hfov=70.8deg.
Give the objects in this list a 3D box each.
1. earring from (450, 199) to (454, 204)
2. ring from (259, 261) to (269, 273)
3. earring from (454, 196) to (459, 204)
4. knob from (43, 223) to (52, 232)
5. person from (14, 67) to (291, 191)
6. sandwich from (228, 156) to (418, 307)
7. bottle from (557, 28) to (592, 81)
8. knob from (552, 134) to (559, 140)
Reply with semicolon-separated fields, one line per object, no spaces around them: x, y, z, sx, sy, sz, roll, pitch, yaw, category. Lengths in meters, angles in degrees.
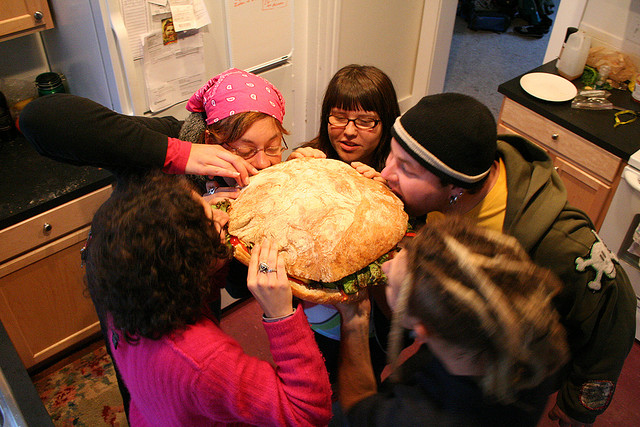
0.572;-0.057;1.957;0.005;0.017;0.017;10;6;-3;earring
-0.211;0.195;1.661;0.029;0.029;0.011;6;-10;27;ring
0.591;-0.066;1.949;0.004;0.019;0.019;20;35;11;earring
-1.624;0.077;2.677;0.035;0.045;0.040;7;12;-46;knob
-0.753;-0.495;2.166;1.174;0.503;0.870;7;10;-9;person
-0.010;0.133;1.881;0.660;0.194;0.596;22;57;8;sandwich
2.020;-1.234;3.491;0.236;0.333;0.164;-6;36;-10;bottle
1.707;-0.564;3.260;0.033;0.033;0.030;-8;-5;-4;knob
